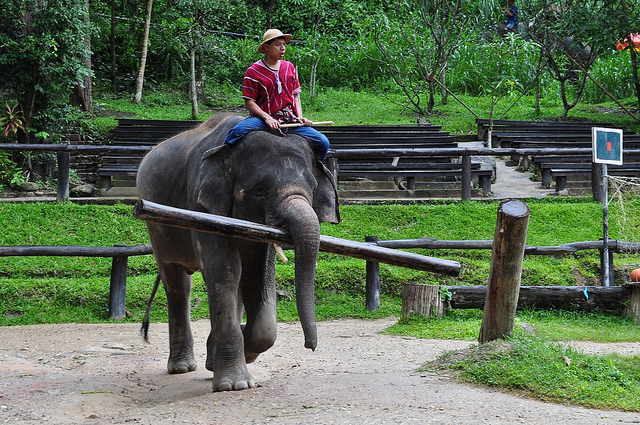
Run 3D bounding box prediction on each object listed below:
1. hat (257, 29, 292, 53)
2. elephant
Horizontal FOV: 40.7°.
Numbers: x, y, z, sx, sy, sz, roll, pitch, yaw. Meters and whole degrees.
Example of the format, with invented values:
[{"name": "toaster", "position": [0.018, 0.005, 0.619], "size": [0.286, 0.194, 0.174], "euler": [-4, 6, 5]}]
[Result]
[{"name": "hat", "position": [-0.640, -2.385, 11.962], "size": [0.466, 0.317, 0.663], "euler": [-2, 12, -2]}, {"name": "elephant", "position": [-1.343, 0.542, 12.670], "size": [2.335, 3.722, 4.787], "euler": [3, -4, -31]}]
